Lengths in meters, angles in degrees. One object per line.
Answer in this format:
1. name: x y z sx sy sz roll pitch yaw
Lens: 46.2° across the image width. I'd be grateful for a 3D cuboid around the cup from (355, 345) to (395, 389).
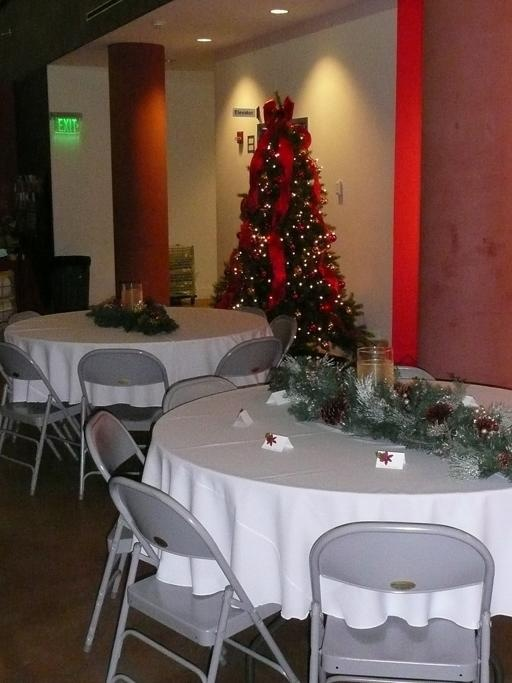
1. cup: 0.351 0.070 1.708 0.106 0.118 0.109 -1 7 0
